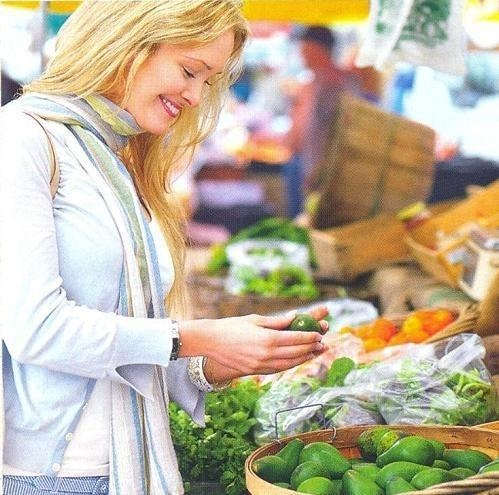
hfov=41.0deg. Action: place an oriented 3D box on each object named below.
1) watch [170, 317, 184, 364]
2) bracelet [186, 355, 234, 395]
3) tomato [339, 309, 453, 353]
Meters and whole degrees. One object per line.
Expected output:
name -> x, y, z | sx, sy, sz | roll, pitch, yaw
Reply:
watch -> -0.160, 0.202, 1.455 | 0.025, 0.085, 0.043 | 0, 15, -5
bracelet -> -0.117, 0.336, 1.829 | 0.114, 0.095, 0.097 | 7, 11, 24
tomato -> 0.597, 0.315, 2.702 | 0.378, 0.148, 0.413 | 0, 4, -1
